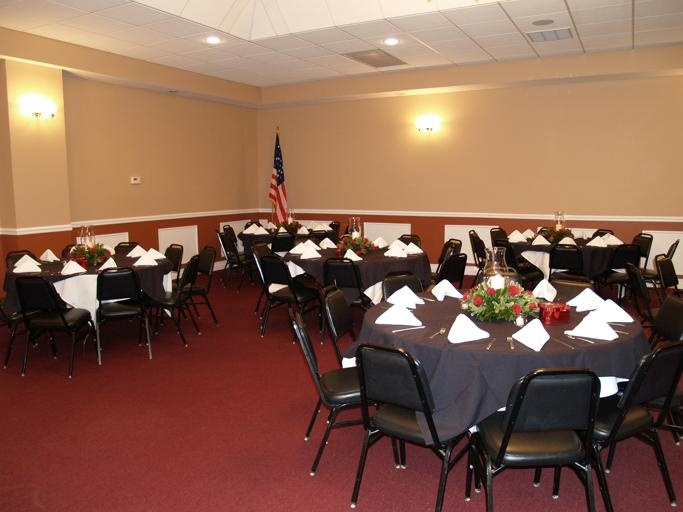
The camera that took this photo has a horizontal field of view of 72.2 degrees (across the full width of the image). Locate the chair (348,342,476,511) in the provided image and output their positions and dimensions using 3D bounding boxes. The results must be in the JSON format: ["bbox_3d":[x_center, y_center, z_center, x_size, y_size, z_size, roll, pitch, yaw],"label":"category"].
[{"bbox_3d":[0.488,1.161,3.164,0.717,1.294,0.853,8,21,29],"label":"chair"}]

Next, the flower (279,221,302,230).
[{"bbox_3d":[-1.014,-0.575,9.170,0.310,0.188,0.328,-1,4,1],"label":"flower"}]

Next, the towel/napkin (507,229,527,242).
[{"bbox_3d":[2.968,-0.347,7.946,0.259,0.150,0.274,1,8,18],"label":"towel/napkin"}]

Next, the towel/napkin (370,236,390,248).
[{"bbox_3d":[0.585,-0.198,7.244,0.218,0.154,0.302,0,-2,13],"label":"towel/napkin"}]

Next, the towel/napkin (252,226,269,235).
[{"bbox_3d":[-1.550,-0.484,9.013,0.234,0.260,0.158,0,-9,16],"label":"towel/napkin"}]

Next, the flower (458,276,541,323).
[{"bbox_3d":[1.229,0.363,3.587,0.361,0.176,0.380,-2,9,1],"label":"flower"}]

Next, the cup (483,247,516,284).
[{"bbox_3d":[1.473,0.088,4.384,0.292,0.427,0.295,-2,8,0],"label":"cup"}]

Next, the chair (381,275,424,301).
[{"bbox_3d":[0.609,0.302,4.803,0.259,0.392,0.292,-1,0,-9],"label":"chair"}]

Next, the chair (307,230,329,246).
[{"bbox_3d":[-0.433,-0.303,8.380,0.256,0.238,0.353,-2,9,-3],"label":"chair"}]

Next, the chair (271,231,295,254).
[{"bbox_3d":[-1.084,-0.275,8.447,0.327,0.512,0.359,-2,22,-15],"label":"chair"}]

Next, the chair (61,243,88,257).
[{"bbox_3d":[-3.475,-0.080,6.094,0.212,0.319,0.243,2,0,7],"label":"chair"}]

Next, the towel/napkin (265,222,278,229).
[{"bbox_3d":[-1.455,-0.616,9.631,0.166,0.134,0.244,1,3,-6],"label":"towel/napkin"}]

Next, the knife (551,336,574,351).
[{"bbox_3d":[1.490,0.593,3.186,0.024,0.009,0.226,-9,10,-12],"label":"knife"}]

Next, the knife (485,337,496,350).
[{"bbox_3d":[0.989,0.587,3.163,0.032,0.009,0.166,11,28,25],"label":"knife"}]

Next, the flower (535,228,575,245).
[{"bbox_3d":[3.367,-0.335,7.451,0.378,0.185,0.399,1,10,14],"label":"flower"}]

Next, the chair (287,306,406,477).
[{"bbox_3d":[-0.020,0.870,4.212,1.041,1.821,1.031,-6,10,-5],"label":"chair"}]

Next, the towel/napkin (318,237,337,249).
[{"bbox_3d":[-0.257,-0.212,7.548,0.192,0.101,0.262,-1,13,-8],"label":"towel/napkin"}]

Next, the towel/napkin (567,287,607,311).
[{"bbox_3d":[2.100,0.372,4.067,0.308,0.248,0.068,0,-19,22],"label":"towel/napkin"}]

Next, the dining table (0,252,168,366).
[{"bbox_3d":[-2.995,0.450,5.564,1.277,0.797,1.344,-1,5,-10],"label":"dining table"}]

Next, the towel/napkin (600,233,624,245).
[{"bbox_3d":[4.114,-0.245,7.202,0.240,0.104,0.329,-1,7,6],"label":"towel/napkin"}]

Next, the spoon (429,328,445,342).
[{"bbox_3d":[0.685,0.560,3.378,0.045,0.035,0.236,4,20,31],"label":"spoon"}]

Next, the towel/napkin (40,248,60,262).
[{"bbox_3d":[-3.860,0.008,6.210,0.265,0.162,0.269,1,2,-21],"label":"towel/napkin"}]

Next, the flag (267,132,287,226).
[{"bbox_3d":[-1.462,-1.828,10.727,0.430,2.055,1.181,-2,12,-9],"label":"flag"}]

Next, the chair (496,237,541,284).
[{"bbox_3d":[2.382,0.055,6.282,0.474,0.827,0.467,-4,15,7],"label":"chair"}]

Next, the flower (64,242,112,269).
[{"bbox_3d":[-3.097,-0.004,5.831,0.365,0.215,0.384,4,4,5],"label":"flower"}]

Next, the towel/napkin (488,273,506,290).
[{"bbox_3d":[1.196,0.194,3.660,0.111,0.128,0.113,-7,12,-24],"label":"towel/napkin"}]

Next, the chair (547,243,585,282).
[{"bbox_3d":[3.318,0.065,6.903,0.501,0.538,0.560,6,14,28],"label":"chair"}]

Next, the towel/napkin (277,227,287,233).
[{"bbox_3d":[-1.160,-0.517,9.072,0.273,0.015,0.323,1,27,-5],"label":"towel/napkin"}]

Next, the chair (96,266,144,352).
[{"bbox_3d":[-2.624,0.632,5.570,0.523,1.112,0.659,-6,13,-23],"label":"chair"}]

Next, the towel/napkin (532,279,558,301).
[{"bbox_3d":[1.790,0.330,4.165,0.168,0.220,0.094,13,-13,19],"label":"towel/napkin"}]

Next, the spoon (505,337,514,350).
[{"bbox_3d":[1.134,0.590,3.173,0.027,0.027,0.097,-9,17,7],"label":"spoon"}]

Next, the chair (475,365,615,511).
[{"bbox_3d":[1.174,1.055,2.864,0.689,0.942,0.397,1,12,9],"label":"chair"}]

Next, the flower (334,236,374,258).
[{"bbox_3d":[0.180,-0.159,6.511,0.324,0.222,0.330,-2,8,-30],"label":"flower"}]
